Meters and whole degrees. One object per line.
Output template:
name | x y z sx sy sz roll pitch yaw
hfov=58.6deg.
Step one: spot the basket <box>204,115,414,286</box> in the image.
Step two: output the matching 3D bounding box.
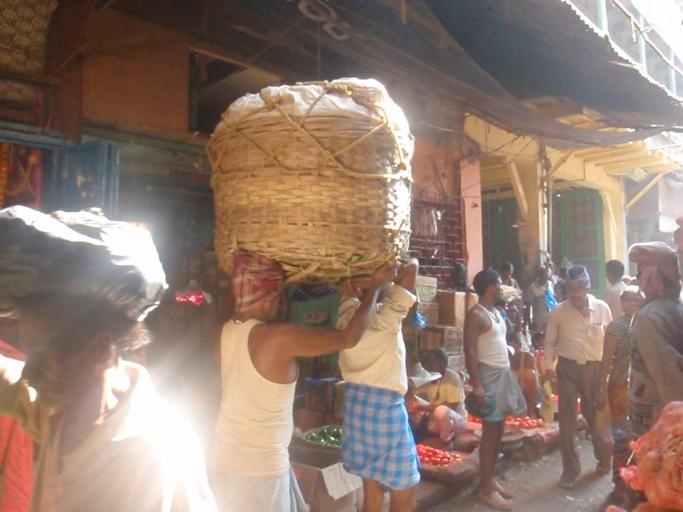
basket | -0.201 -0.284 3.855 0.938 0.766 0.987 1 -5 -1
